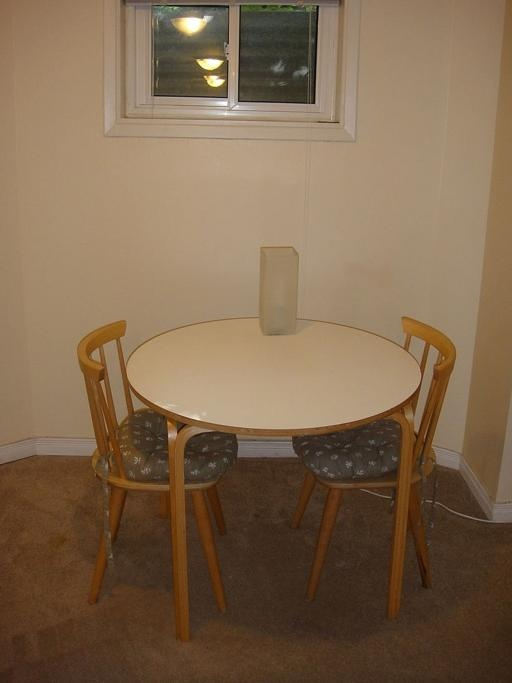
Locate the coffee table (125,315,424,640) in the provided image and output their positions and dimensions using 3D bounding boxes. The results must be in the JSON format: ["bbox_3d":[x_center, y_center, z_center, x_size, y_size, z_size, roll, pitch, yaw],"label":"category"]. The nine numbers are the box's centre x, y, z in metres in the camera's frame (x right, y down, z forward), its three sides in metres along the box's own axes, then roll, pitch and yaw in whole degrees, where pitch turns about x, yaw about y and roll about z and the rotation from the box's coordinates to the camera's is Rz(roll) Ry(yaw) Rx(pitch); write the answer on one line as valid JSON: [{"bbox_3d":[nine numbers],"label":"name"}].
[{"bbox_3d":[0.030,0.350,1.559,0.751,0.685,0.738,14,19,42],"label":"coffee table"}]

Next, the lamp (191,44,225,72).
[{"bbox_3d":[-0.182,-1.058,2.135,0.110,0.079,0.043,4,-5,-3],"label":"lamp"}]

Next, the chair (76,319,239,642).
[{"bbox_3d":[-0.260,0.410,1.555,0.493,0.844,0.450,0,31,-4],"label":"chair"}]
